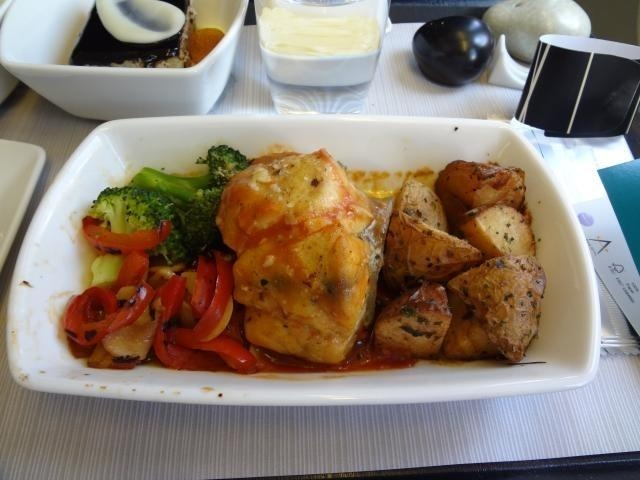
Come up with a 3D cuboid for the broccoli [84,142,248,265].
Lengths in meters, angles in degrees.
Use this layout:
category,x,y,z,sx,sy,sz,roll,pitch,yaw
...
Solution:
category,x,y,z,sx,sy,sz,roll,pitch,yaw
broccoli,-0.661,-0.158,2.352,0.449,0.254,0.641,39,77,-2
